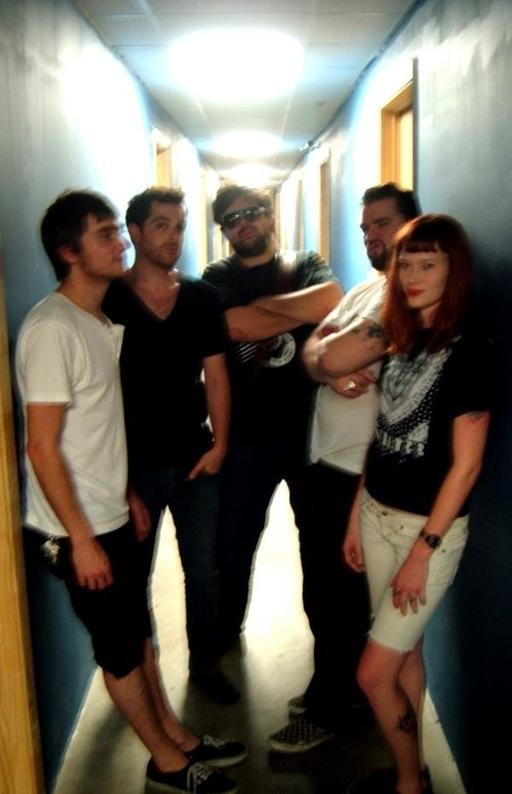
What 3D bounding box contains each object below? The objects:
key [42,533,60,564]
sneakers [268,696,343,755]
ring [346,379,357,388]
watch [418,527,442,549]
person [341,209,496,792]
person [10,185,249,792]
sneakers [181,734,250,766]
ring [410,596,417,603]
[{"bbox_3d":[-0.364,0.273,1.158,0.016,0.046,0.034,-8,12,19],"label":"key"},{"bbox_3d":[0.091,0.833,1.656,0.159,0.066,0.161,-2,13,-34],"label":"sneakers"},{"bbox_3d":[0.212,-0.029,1.447,0.008,0.018,0.011,11,44,-34],"label":"ring"},{"bbox_3d":[0.293,0.241,1.097,0.036,0.020,0.027,31,-9,30],"label":"watch"},{"bbox_3d":[0.290,0.254,1.195,0.215,1.132,0.206,7,11,11],"label":"person"},{"bbox_3d":[-0.226,0.256,1.275,0.474,1.247,0.237,1,12,-22],"label":"person"},{"bbox_3d":[-0.093,0.823,1.547,0.154,0.059,0.056,3,18,-21],"label":"sneakers"},{"bbox_3d":[0.273,0.352,1.125,0.012,0.011,0.010,-8,5,-2],"label":"ring"}]
